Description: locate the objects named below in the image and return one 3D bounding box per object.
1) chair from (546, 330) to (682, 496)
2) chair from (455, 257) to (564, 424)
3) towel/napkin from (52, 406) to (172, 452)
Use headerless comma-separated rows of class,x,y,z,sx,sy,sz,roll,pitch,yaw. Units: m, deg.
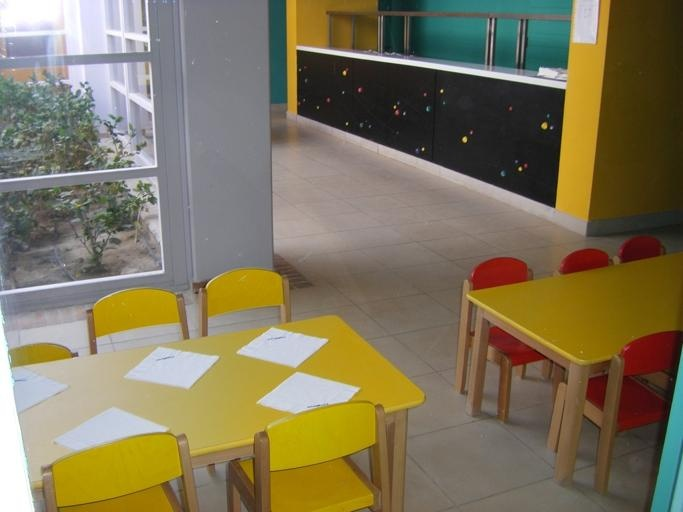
chair,1.339,0.677,2.539,0.429,0.831,0.373,-5,19,-14
chair,0.994,0.497,3.131,0.575,0.862,0.613,6,17,14
towel/napkin,-0.803,0.597,1.828,0.161,0.026,0.180,14,22,25
